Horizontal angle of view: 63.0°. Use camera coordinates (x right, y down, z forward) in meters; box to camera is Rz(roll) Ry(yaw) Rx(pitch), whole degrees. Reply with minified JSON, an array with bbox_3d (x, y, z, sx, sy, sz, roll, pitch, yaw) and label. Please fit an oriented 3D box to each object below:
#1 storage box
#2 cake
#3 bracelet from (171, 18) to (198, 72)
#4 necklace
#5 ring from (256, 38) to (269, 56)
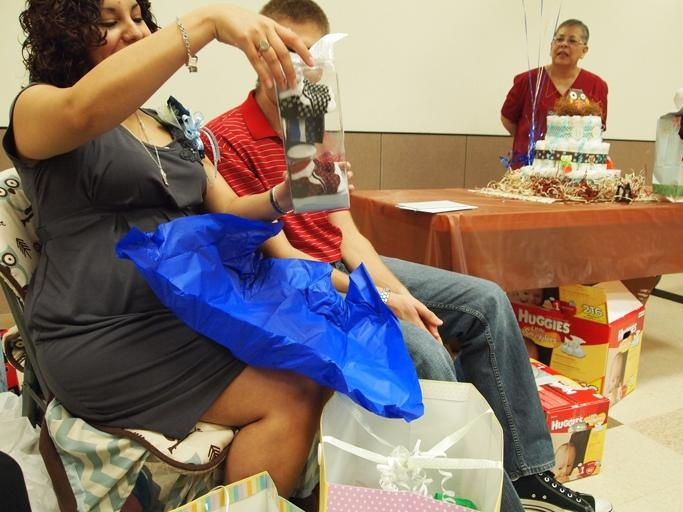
[{"bbox_3d":[0.905,0.461,2.087,0.364,0.725,0.497,-11,16,-26],"label":"storage box"},{"bbox_3d":[1.011,-0.514,2.629,0.417,0.468,0.459,-3,23,0],"label":"cake"},{"bbox_3d":[-0.359,-0.486,1.301,0.038,0.114,0.147,-3,11,-12],"label":"bracelet"},{"bbox_3d":[-0.513,-0.287,1.502,0.084,0.012,0.294,-10,51,-28],"label":"necklace"},{"bbox_3d":[-0.175,-0.466,1.240,0.035,0.038,0.011,0,-7,-4],"label":"ring"}]
